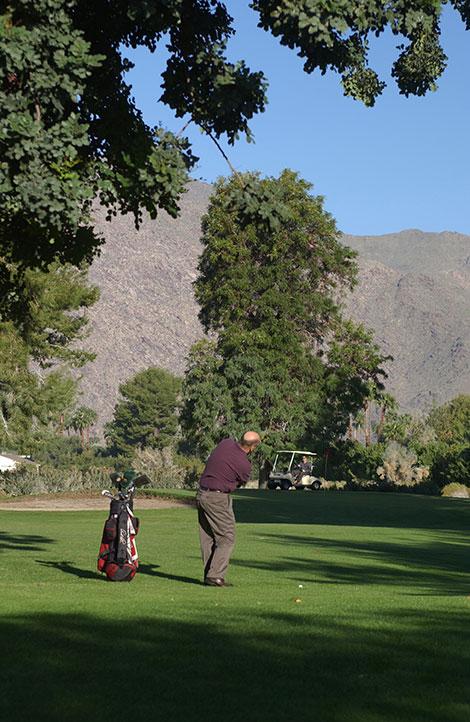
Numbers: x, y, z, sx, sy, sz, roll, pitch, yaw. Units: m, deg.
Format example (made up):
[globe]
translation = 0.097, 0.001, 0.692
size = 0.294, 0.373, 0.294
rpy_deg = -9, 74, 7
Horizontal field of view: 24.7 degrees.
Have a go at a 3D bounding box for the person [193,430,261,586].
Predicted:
[person]
translation = -0.134, 1.486, 11.094
size = 0.526, 1.551, 1.377
rpy_deg = 10, -2, 1
